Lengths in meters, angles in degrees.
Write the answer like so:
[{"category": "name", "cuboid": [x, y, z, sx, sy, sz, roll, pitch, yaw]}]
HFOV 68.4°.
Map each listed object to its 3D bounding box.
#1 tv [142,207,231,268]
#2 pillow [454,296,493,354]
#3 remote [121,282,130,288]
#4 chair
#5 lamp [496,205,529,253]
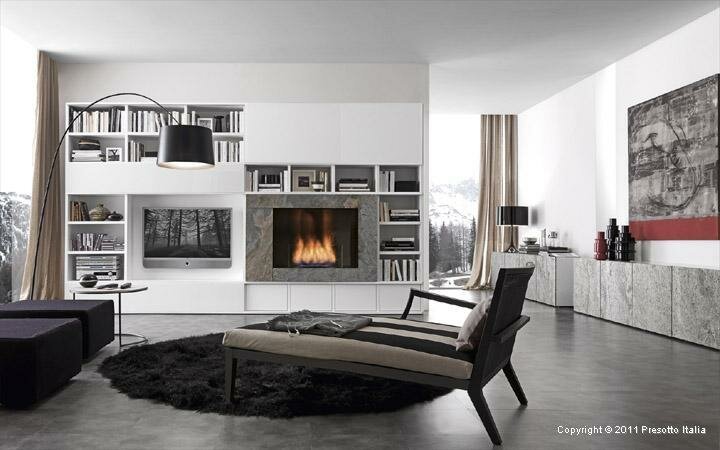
[{"category": "tv", "cuboid": [-2.801, 0.217, 8.370, 1.053, 0.672, 0.037, -1, 0, 1]}, {"category": "pillow", "cuboid": [1.049, 0.889, 4.889, 0.300, 0.548, 0.274, 4, 14, 13]}, {"category": "remote", "cuboid": [-3.000, 0.786, 6.801, 0.102, 0.045, 0.133, 0, -3, -4]}, {"category": "chair", "cuboid": [0.218, 1.076, 5.313, 2.670, 1.264, 1.574, 0, -4, 18]}, {"category": "lamp", "cuboid": [3.036, 0.110, 10.607, 0.576, 1.003, 0.927, 7, 15, 23]}]
